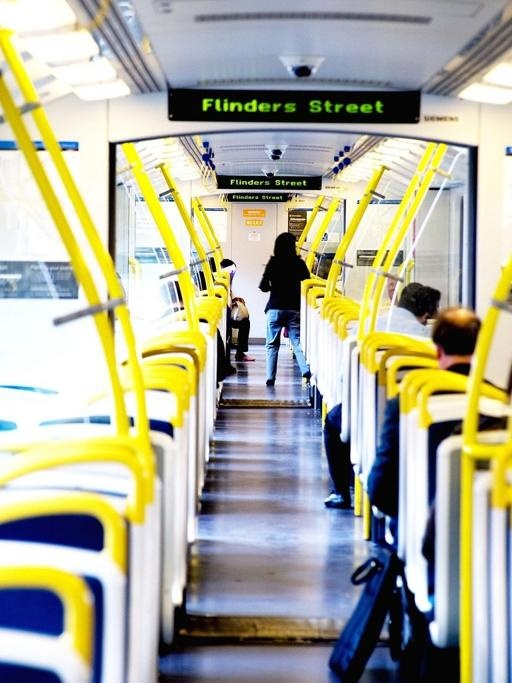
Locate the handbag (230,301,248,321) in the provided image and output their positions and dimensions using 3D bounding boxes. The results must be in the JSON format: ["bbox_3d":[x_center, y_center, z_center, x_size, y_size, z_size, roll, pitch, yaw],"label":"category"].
[{"bbox_3d":[-0.283,-0.480,11.300,0.234,0.488,0.480,2,3,11],"label":"handbag"}]

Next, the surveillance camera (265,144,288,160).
[{"bbox_3d":[0.194,-2.009,7.094,0.148,0.150,0.197,0,-3,-1],"label":"surveillance camera"}]

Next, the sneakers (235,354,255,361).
[{"bbox_3d":[-0.227,0.322,12.026,0.373,0.182,0.132,1,4,7],"label":"sneakers"}]
